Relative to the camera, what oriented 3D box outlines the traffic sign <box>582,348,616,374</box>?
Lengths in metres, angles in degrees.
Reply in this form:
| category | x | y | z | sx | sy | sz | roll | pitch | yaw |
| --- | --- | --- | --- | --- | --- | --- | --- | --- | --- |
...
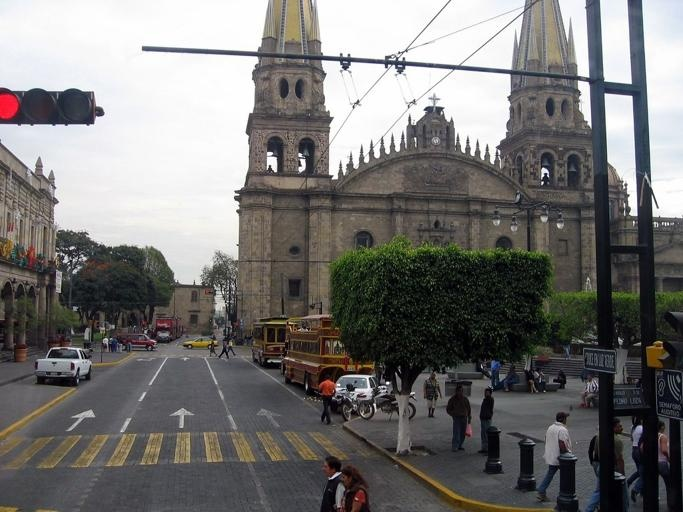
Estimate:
| category | x | y | z | sx | sy | sz | roll | pitch | yaw |
| --- | --- | --- | --- | --- | --- | --- | --- | --- | --- |
| traffic sign | 6.140 | 2.492 | 20.141 | 0.339 | 0.586 | 1.078 | 2 | -3 | -16 |

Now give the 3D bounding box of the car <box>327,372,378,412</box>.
| category | x | y | z | sx | sy | sz | roll | pitch | yaw |
| --- | --- | --- | --- | --- | --- | --- | --- | --- | --- |
| car | 0.622 | 5.585 | 34.435 | 1.663 | 1.457 | 1.353 | -4 | -1 | -20 |

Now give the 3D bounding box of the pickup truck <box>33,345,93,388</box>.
| category | x | y | z | sx | sy | sz | roll | pitch | yaw |
| --- | --- | --- | --- | --- | --- | --- | --- | --- | --- |
| pickup truck | -13.733 | 5.436 | 41.858 | 1.852 | 1.809 | 3.260 | 1 | -3 | -4 |

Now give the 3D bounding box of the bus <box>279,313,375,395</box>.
| category | x | y | z | sx | sy | sz | roll | pitch | yaw |
| --- | --- | --- | --- | --- | --- | --- | --- | --- | --- |
| bus | -0.702 | 4.656 | 41.196 | 2.363 | 3.126 | 6.302 | 2 | -1 | -17 |

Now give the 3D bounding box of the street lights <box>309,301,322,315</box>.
| category | x | y | z | sx | sy | sz | roll | pitch | yaw |
| --- | --- | --- | --- | --- | --- | --- | --- | --- | --- |
| street lights | -2.079 | 4.280 | 70.566 | 0.951 | 1.024 | 2.572 | 2 | -3 | -11 |

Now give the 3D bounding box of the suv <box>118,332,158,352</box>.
| category | x | y | z | sx | sy | sz | roll | pitch | yaw |
| --- | --- | --- | --- | --- | --- | --- | --- | --- | --- |
| suv | -18.961 | 8.150 | 78.860 | 3.087 | 1.504 | 1.869 | -1 | -2 | -4 |

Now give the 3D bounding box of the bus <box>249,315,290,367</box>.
| category | x | y | z | sx | sy | sz | roll | pitch | yaw |
| --- | --- | --- | --- | --- | --- | --- | --- | --- | --- |
| bus | -4.647 | 6.850 | 55.121 | 2.437 | 3.141 | 6.072 | 1 | -5 | -13 |

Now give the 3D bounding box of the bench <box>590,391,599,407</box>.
| category | x | y | z | sx | sy | sz | roll | pitch | yaw |
| --- | --- | --- | --- | --- | --- | --- | --- | --- | --- |
| bench | 10.452 | 5.952 | 35.022 | 0.229 | 0.616 | 0.523 | 0 | -3 | 21 |

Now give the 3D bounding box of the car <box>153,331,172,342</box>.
| category | x | y | z | sx | sy | sz | roll | pitch | yaw |
| --- | --- | --- | --- | --- | --- | --- | --- | --- | --- |
| car | -20.572 | 9.340 | 97.876 | 1.683 | 1.432 | 3.061 | 2 | -3 | -6 |

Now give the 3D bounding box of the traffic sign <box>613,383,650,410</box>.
| category | x | y | z | sx | sy | sz | roll | pitch | yaw |
| --- | --- | --- | --- | --- | --- | --- | --- | --- | --- |
| traffic sign | 6.839 | 3.370 | 20.254 | 0.941 | 0.794 | 0.531 | -1 | -9 | -7 |

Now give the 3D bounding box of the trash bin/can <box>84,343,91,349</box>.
| category | x | y | z | sx | sy | sz | roll | pitch | yaw |
| --- | --- | --- | --- | --- | --- | --- | --- | --- | --- |
| trash bin/can | -19.986 | 7.100 | 67.074 | 0.402 | 0.560 | 0.553 | 1 | -3 | -31 |

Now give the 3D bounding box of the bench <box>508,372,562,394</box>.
| category | x | y | z | sx | sy | sz | roll | pitch | yaw |
| --- | --- | --- | --- | --- | --- | --- | --- | --- | --- |
| bench | 9.670 | 6.227 | 41.646 | 2.331 | 0.752 | 2.469 | 0 | -3 | 17 |

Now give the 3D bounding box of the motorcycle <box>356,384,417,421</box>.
| category | x | y | z | sx | sy | sz | roll | pitch | yaw |
| --- | --- | --- | --- | --- | --- | --- | --- | --- | --- |
| motorcycle | 1.618 | 5.807 | 33.097 | 1.849 | 1.065 | 3.290 | 2 | -3 | -11 |
